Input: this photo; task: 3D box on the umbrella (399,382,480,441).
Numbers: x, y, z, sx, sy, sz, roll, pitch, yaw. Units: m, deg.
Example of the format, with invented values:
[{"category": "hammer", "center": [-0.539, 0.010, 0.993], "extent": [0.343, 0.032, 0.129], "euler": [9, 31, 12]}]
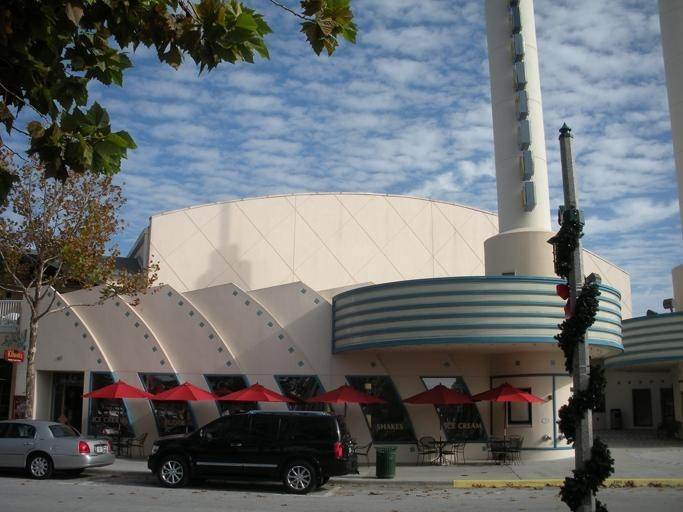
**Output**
[{"category": "umbrella", "center": [3.413, 5.114, 28.973], "extent": [2.008, 1.551, 2.112], "euler": [2, 14, 16]}]

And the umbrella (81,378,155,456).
[{"category": "umbrella", "center": [-8.220, 5.662, 29.982], "extent": [2.526, 2.292, 2.480], "euler": [6, -9, 13]}]

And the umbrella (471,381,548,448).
[{"category": "umbrella", "center": [5.775, 5.321, 29.008], "extent": [2.512, 1.795, 2.361], "euler": [0, -5, 23]}]

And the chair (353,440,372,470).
[{"category": "chair", "center": [0.794, 6.976, 29.613], "extent": [0.584, 0.974, 1.337], "euler": [3, 12, 5]}]

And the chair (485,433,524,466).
[{"category": "chair", "center": [5.868, 6.781, 29.424], "extent": [1.119, 0.985, 0.956], "euler": [5, -14, -12]}]
